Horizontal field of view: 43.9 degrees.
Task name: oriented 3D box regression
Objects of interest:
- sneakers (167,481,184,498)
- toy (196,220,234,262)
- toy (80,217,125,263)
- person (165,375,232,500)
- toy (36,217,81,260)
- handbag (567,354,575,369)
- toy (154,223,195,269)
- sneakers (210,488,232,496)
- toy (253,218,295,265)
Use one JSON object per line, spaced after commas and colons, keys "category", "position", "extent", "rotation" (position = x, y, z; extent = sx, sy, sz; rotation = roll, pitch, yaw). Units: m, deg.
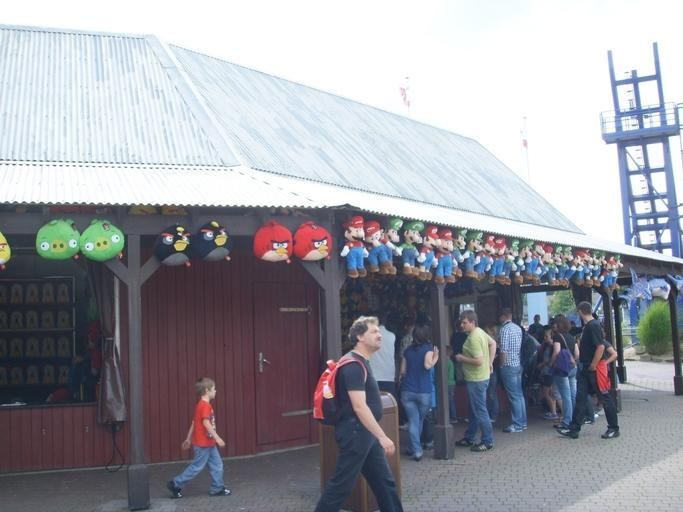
{"category": "sneakers", "position": [-2.413, 3.312, 12.138], "extent": [0.214, 0.249, 0.337], "rotation": [-1, 0, -11]}
{"category": "toy", "position": [-1.833, -0.213, 12.465], "extent": [0.490, 0.602, 0.503], "rotation": [1, -8, -45]}
{"category": "toy", "position": [-3.393, -0.207, 11.867], "extent": [0.474, 0.646, 0.282], "rotation": [-16, -7, -24]}
{"category": "person", "position": [-2.106, 2.588, 12.593], "extent": [0.830, 1.673, 1.807], "rotation": [-1, 0, -8]}
{"category": "toy", "position": [-4.001, -0.151, 11.914], "extent": [0.430, 0.650, 0.281], "rotation": [1, -16, -15]}
{"category": "handbag", "position": [4.278, 1.944, 15.528], "extent": [0.231, 0.257, 0.162], "rotation": [-2, -7, 18]}
{"category": "toy", "position": [-2.456, -0.117, 12.371], "extent": [0.508, 0.628, 0.556], "rotation": [3, -12, -25]}
{"category": "sneakers", "position": [-1.747, 3.379, 12.097], "extent": [0.229, 0.110, 0.124], "rotation": [-2, -1, -7]}
{"category": "toy", "position": [-0.963, -0.219, 12.590], "extent": [0.528, 0.583, 0.552], "rotation": [3, -6, -45]}
